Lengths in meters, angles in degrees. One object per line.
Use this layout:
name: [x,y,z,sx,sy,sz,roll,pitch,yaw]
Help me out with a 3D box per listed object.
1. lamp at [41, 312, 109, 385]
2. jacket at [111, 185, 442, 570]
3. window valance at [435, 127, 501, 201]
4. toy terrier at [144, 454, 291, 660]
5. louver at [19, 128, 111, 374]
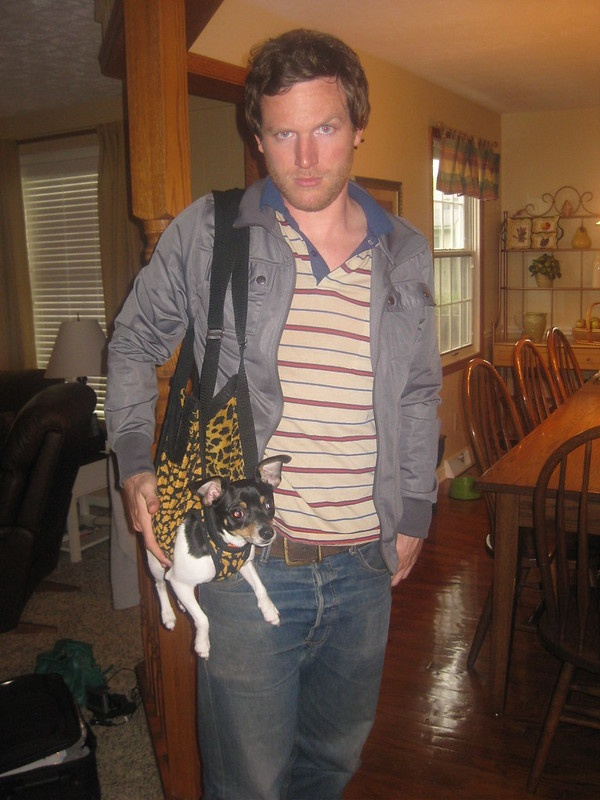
lamp: [-1.316,-0.304,3.912,0.422,0.359,0.381,-4,13,-24]
jacket: [0.015,-0.020,1.123,0.524,0.559,0.301,5,-10,14]
window valance: [1.361,-1.835,5.123,1.008,0.477,0.153,-8,14,-44]
toy terrier: [-0.137,0.203,0.930,0.140,0.295,0.275,-7,19,-38]
louver: [-1.807,-1.150,5.084,0.544,1.472,0.074,1,4,3]
